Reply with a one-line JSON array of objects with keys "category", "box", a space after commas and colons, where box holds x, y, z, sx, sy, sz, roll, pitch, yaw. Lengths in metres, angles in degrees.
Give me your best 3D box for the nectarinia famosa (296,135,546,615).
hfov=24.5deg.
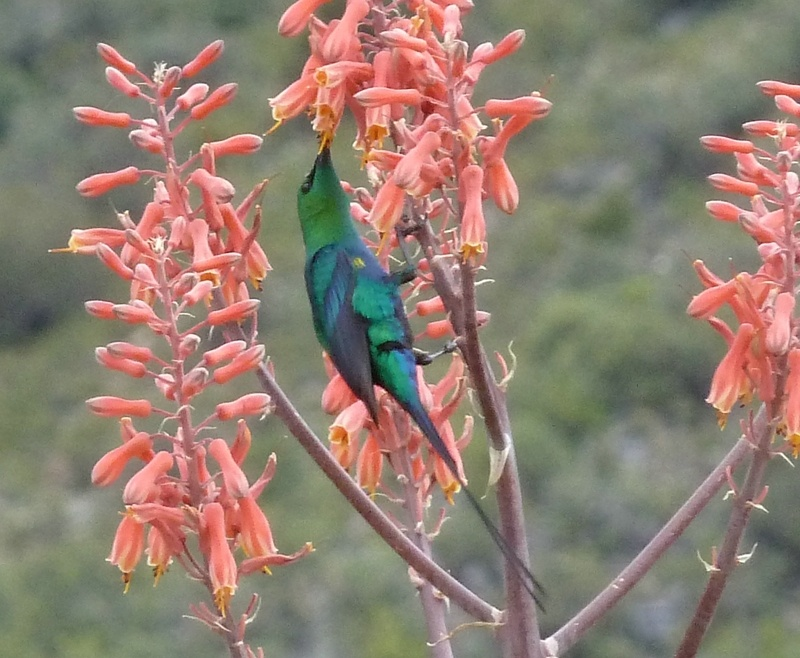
[{"category": "nectarinia famosa", "box": [-0.225, 0.215, 11.340, 1.569, 2.635, 2.017, -6, 6, -1]}]
